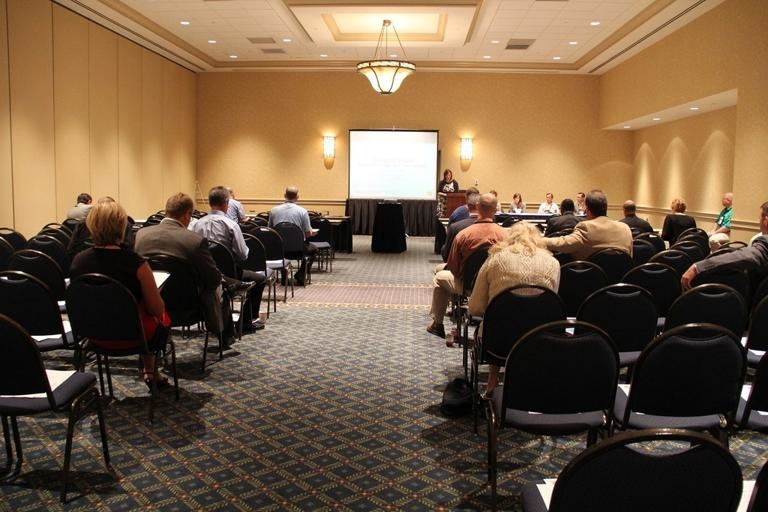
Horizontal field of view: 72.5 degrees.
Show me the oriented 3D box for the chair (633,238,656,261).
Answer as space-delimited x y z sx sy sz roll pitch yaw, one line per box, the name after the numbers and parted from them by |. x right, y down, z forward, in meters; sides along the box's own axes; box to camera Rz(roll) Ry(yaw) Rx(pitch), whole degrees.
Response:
3.492 -0.072 6.994 0.251 0.354 0.285 0 1 2 | chair

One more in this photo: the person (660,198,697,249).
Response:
5.503 -0.480 9.788 0.609 1.179 0.649 -8 19 12 | person

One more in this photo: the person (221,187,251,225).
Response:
-2.832 -0.893 9.991 0.426 0.873 0.500 5 26 7 | person

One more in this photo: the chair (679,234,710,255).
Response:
4.242 -0.159 7.134 0.261 0.436 0.308 0 15 28 | chair

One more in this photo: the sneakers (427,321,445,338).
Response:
0.674 0.925 6.658 0.108 0.194 0.295 0 13 -10 | sneakers

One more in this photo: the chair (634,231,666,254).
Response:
3.791 -0.195 7.480 0.269 0.473 0.306 5 26 22 | chair

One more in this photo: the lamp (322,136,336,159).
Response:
-1.873 -3.737 17.785 0.599 0.828 0.587 0 4 -5 | lamp

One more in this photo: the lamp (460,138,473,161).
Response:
2.782 -3.614 17.589 0.417 0.773 0.153 -2 8 1 | lamp

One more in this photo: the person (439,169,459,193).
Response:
1.910 -2.238 15.454 0.484 0.629 0.923 -3 8 -9 | person
